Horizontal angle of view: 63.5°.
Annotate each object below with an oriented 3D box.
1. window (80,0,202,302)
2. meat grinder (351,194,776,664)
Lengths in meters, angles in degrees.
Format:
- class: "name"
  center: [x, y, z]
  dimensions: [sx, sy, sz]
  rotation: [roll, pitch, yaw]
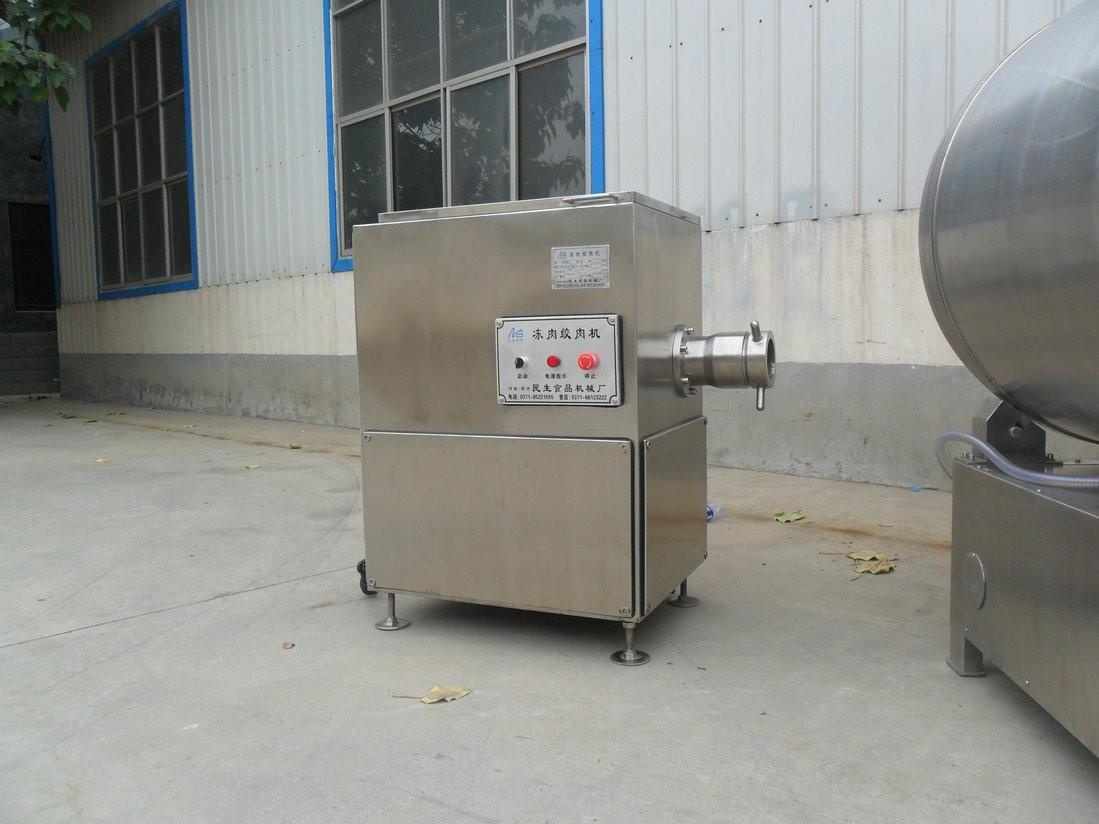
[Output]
- class: "window"
  center: [-4.815, -3.144, 10.531]
  dimensions: [0.170, 4.301, 3.435]
  rotation: [-6, 6, -41]
- class: "meat grinder"
  center: [0.070, 0.006, 3.096]
  dimensions: [1.290, 1.446, 0.887]
  rotation: [1, 0, 20]
